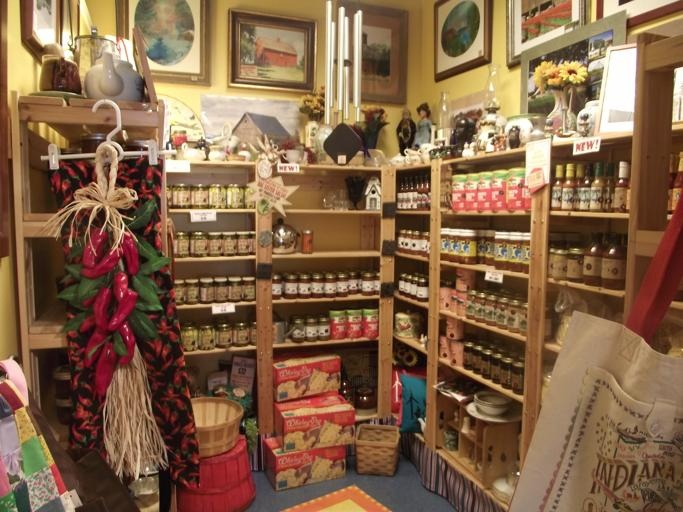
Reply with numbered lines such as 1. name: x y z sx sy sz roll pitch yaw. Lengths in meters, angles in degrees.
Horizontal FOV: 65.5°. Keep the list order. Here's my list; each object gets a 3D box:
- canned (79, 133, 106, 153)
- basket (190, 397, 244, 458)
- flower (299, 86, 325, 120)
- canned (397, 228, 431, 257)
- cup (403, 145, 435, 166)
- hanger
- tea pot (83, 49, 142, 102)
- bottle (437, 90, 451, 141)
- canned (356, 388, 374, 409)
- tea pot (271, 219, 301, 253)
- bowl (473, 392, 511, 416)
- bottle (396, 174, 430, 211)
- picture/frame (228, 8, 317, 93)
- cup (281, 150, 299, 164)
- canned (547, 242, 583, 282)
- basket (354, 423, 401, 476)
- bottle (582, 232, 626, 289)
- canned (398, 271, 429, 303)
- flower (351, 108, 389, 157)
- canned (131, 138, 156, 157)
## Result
1. canned: -0.984 -0.436 2.089 0.079 0.064 0.082 -1 7 -16
2. basket: -0.738 1.011 3.185 0.275 0.231 0.428 -6 10 -20
3. flower: -0.204 -1.087 3.831 0.202 0.221 0.202 1 0 -34
4. canned: 0.507 -0.093 3.747 0.171 0.115 0.178 1 0 -13
5. cup: 0.551 -0.700 3.652 0.128 0.084 0.173 2 30 48
6. hanger: -0.957 -0.497 2.131 0.406 0.258 0.017 -1 11 -6
7. tea pot: -0.908 -0.727 2.113 0.164 0.160 0.227 2 21 -7
8. bottle: 0.687 -0.935 3.577 0.081 0.354 0.279 0 9 12
9. canned: 0.168 1.042 3.833 0.123 0.125 0.129 0 -2 -2
10. tea pot: -0.404 -0.131 3.803 0.175 0.230 0.231 -1 -2 -6
11. bowl: 0.864 0.859 3.067 0.117 0.050 0.121 -1 9 0
12. bottle: 0.509 -0.438 3.731 0.103 0.348 0.292 3 -3 -33
13. picture/frame: -0.531 -1.505 3.842 0.627 0.504 0.050 0 15 -19
14. cup: -0.353 -0.677 3.653 0.079 0.088 0.120 0 2 -21
15. canned: 1.087 0.040 2.594 0.144 0.171 0.150 2 4 18
16. basket: 0.241 1.277 3.506 0.282 0.238 0.306 1 9 3
17. bottle: 1.232 0.015 2.458 0.170 0.238 0.222 -8 11 -34
18. canned: 0.505 0.221 3.731 0.117 0.124 0.196 0 1 -26
19. flower: 0.207 -0.919 4.034 0.371 0.442 0.313 1 10 2
20. canned: -0.775 -0.408 2.066 0.085 0.069 0.090 -1 7 -8
